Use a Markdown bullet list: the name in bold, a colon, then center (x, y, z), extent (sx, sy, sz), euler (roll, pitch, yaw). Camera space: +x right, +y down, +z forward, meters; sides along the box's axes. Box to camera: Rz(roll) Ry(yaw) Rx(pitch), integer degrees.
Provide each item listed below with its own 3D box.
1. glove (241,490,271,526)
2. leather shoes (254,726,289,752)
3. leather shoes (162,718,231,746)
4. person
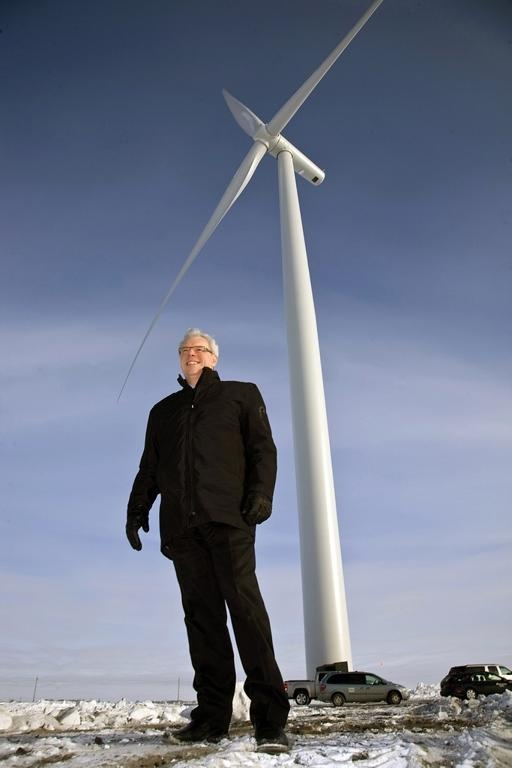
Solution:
- **glove**: center (0.001, 0.844, 5.790), extent (0.193, 0.198, 0.170), euler (-13, -18, 21)
- **leather shoes**: center (0.096, 2.102, 5.105), extent (0.192, 0.125, 0.270), euler (-6, -16, -2)
- **leather shoes**: center (-0.384, 2.291, 5.690), extent (0.427, 0.145, 0.132), euler (14, -27, -8)
- **person**: center (-0.266, 0.901, 5.986), extent (0.664, 2.946, 1.170), euler (8, -24, -40)
